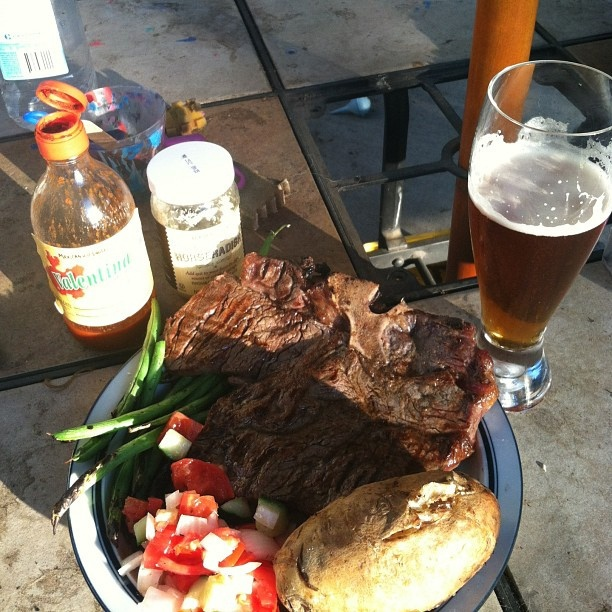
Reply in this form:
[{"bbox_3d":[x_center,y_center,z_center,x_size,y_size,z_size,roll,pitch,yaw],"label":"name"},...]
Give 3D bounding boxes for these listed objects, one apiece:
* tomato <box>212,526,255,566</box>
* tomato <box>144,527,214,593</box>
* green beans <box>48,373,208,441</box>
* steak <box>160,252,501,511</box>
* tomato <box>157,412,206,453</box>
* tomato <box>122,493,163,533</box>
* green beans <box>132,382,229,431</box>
[{"bbox_3d":[-0.109,0.370,0.976,0.056,0.046,0.020,35,69,20],"label":"tomato"},{"bbox_3d":[-0.194,0.392,0.972,0.105,0.065,0.076,21,51,21],"label":"tomato"},{"bbox_3d":[-0.323,0.193,1.175,0.373,0.051,0.045,-17,77,-31],"label":"green beans"},{"bbox_3d":[0.030,0.138,1.112,0.576,0.061,0.389,16,60,24],"label":"steak"},{"bbox_3d":[-0.216,0.216,1.125,0.079,0.051,0.062,21,34,25],"label":"tomato"},{"bbox_3d":[-0.269,0.346,1.042,0.052,0.026,0.063,35,66,29],"label":"tomato"},{"bbox_3d":[-0.249,0.182,1.193,0.152,0.072,0.124,-16,32,-36],"label":"green beans"}]
